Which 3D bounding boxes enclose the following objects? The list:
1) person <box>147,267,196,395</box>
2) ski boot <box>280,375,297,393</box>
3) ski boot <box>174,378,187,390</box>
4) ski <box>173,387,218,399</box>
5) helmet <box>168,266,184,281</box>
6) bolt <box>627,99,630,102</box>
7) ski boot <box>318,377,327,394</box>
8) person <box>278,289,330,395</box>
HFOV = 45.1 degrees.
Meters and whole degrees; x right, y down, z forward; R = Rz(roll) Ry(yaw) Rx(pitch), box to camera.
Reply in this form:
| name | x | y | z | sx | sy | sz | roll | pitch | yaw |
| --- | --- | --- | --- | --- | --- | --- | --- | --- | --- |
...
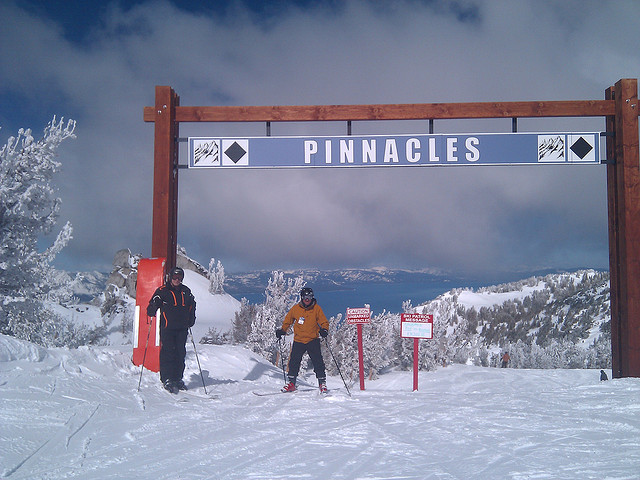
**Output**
| name | x | y | z | sx | sy | sz | roll | pitch | yaw |
| --- | --- | --- | --- | --- | --- | --- | --- | --- | --- |
| person | -3.610 | 2.143 | 18.624 | 0.904 | 2.844 | 1.339 | 4 | 14 | 13 |
| ski boot | -0.834 | 3.590 | 19.179 | 0.185 | 0.422 | 0.587 | -7 | -19 | 22 |
| ski boot | -3.366 | 3.473 | 18.655 | 0.303 | 0.141 | 0.197 | 35 | -5 | 10 |
| ski | -2.992 | 3.661 | 18.467 | 1.100 | 0.176 | 0.125 | 6 | -6 | 26 |
| helmet | -3.510 | 0.795 | 18.858 | 0.383 | 0.400 | 0.324 | 8 | -7 | 17 |
| bolt | 8.094 | -3.692 | 20.342 | 0.044 | 0.045 | 0.011 | 3 | 8 | 4 |
| ski boot | 0.060 | 3.574 | 18.910 | 0.216 | 0.312 | 0.324 | 0 | 14 | -2 |
| person | -0.396 | 2.619 | 19.230 | 1.226 | 2.735 | 1.161 | 2 | 14 | 6 |
